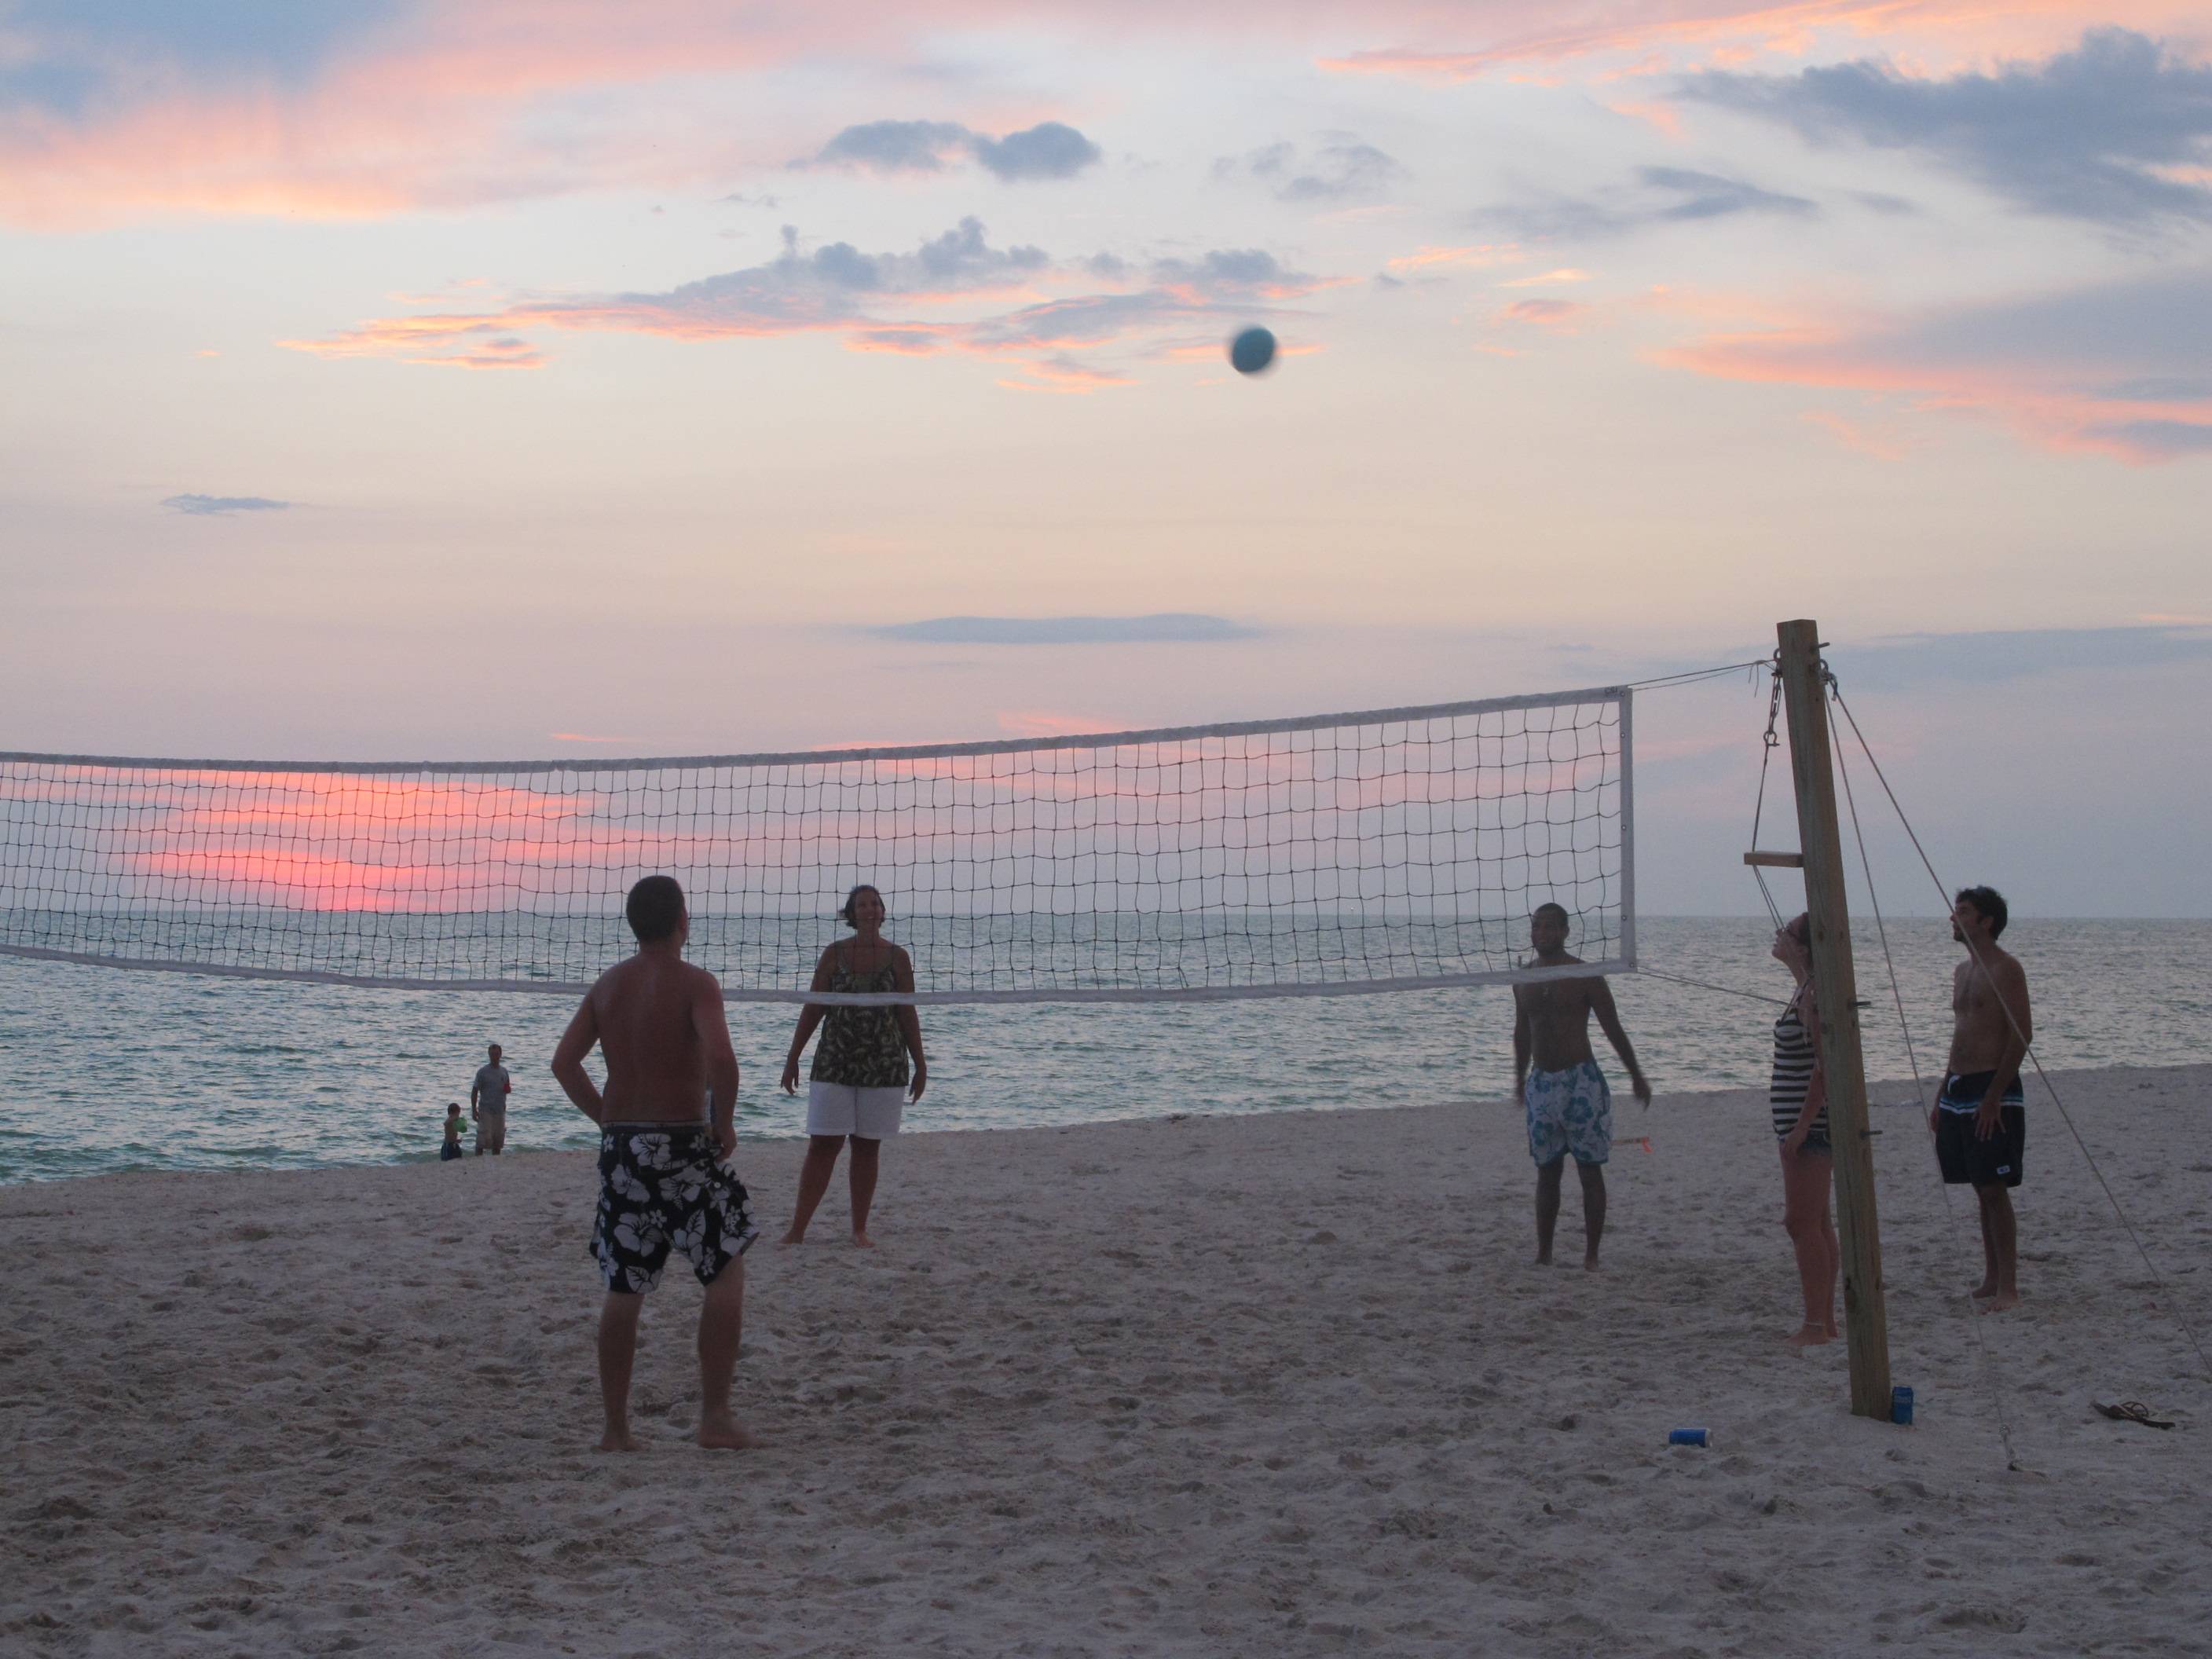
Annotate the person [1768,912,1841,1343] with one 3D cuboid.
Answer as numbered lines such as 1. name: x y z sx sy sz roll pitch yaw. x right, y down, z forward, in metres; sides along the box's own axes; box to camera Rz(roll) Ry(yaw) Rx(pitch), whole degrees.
1. person: 2.759 1.146 10.933 0.332 1.845 0.927 3 12 14

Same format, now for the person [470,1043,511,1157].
1. person: -4.509 2.021 20.015 0.216 0.824 0.650 -2 12 -10

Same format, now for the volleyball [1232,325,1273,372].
1. volleyball: 0.734 -2.480 14.350 0.211 0.215 0.443 0 12 -1

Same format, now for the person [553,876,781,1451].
1. person: -1.665 1.213 10.016 0.664 2.051 0.660 -2 12 -11
